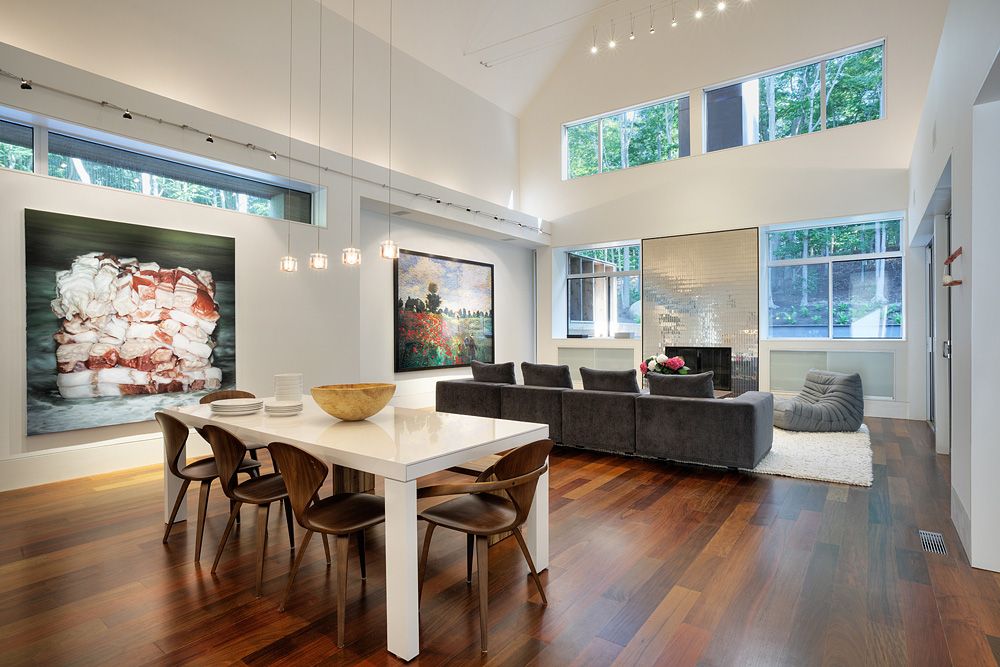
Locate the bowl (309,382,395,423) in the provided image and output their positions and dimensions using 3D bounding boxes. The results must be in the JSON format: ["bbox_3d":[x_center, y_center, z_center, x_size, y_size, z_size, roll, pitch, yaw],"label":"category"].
[{"bbox_3d":[-1.248,0.554,5.231,0.433,0.167,0.435,-1,-3,0],"label":"bowl"}]

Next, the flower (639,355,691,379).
[{"bbox_3d":[2.499,0.480,9.317,0.658,0.351,0.650,3,-4,-40],"label":"flower"}]

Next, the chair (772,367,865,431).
[{"bbox_3d":[4.474,0.989,8.874,0.912,0.734,1.177,-1,-5,4],"label":"chair"}]

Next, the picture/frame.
[{"bbox_3d":[-1.060,-0.390,10.923,0.080,1.869,2.425,-3,-4,37],"label":"picture/frame"}]

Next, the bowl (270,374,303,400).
[{"bbox_3d":[-1.982,0.479,5.792,0.277,0.262,0.257,1,-1,0],"label":"bowl"}]

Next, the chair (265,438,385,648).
[{"bbox_3d":[-1.231,1.488,4.806,0.816,1.390,0.809,-2,1,5],"label":"chair"}]

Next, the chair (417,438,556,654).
[{"bbox_3d":[-0.154,1.520,4.810,1.056,1.234,0.883,-2,0,-32],"label":"chair"}]
